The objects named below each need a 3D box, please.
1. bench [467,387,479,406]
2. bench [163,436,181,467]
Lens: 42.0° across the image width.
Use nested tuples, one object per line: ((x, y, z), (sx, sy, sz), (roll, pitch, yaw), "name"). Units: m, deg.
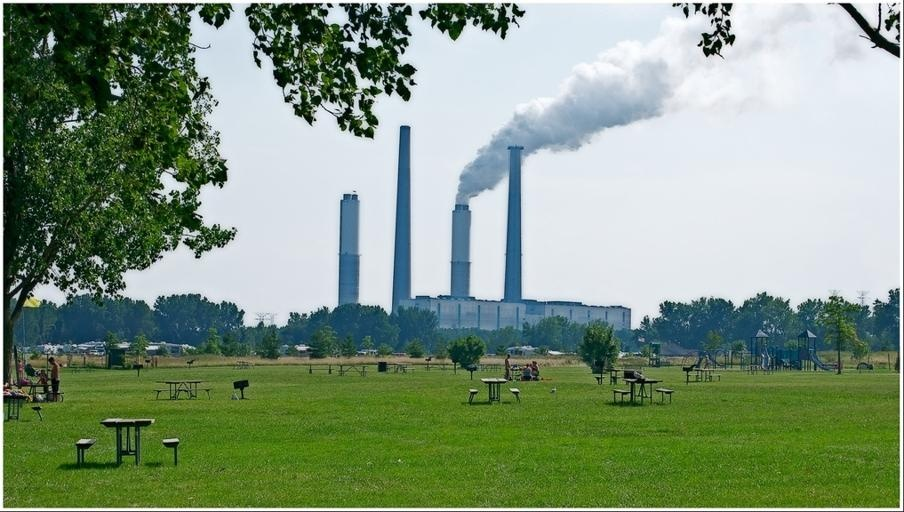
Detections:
((1.379, 8.593, 72.002), (1.014, 0.878, 0.727), (2, 0, -6), "bench")
((-13.516, 9.530, 56.765), (0.945, 1.634, 1.126), (1, -25, -12), "bench")
